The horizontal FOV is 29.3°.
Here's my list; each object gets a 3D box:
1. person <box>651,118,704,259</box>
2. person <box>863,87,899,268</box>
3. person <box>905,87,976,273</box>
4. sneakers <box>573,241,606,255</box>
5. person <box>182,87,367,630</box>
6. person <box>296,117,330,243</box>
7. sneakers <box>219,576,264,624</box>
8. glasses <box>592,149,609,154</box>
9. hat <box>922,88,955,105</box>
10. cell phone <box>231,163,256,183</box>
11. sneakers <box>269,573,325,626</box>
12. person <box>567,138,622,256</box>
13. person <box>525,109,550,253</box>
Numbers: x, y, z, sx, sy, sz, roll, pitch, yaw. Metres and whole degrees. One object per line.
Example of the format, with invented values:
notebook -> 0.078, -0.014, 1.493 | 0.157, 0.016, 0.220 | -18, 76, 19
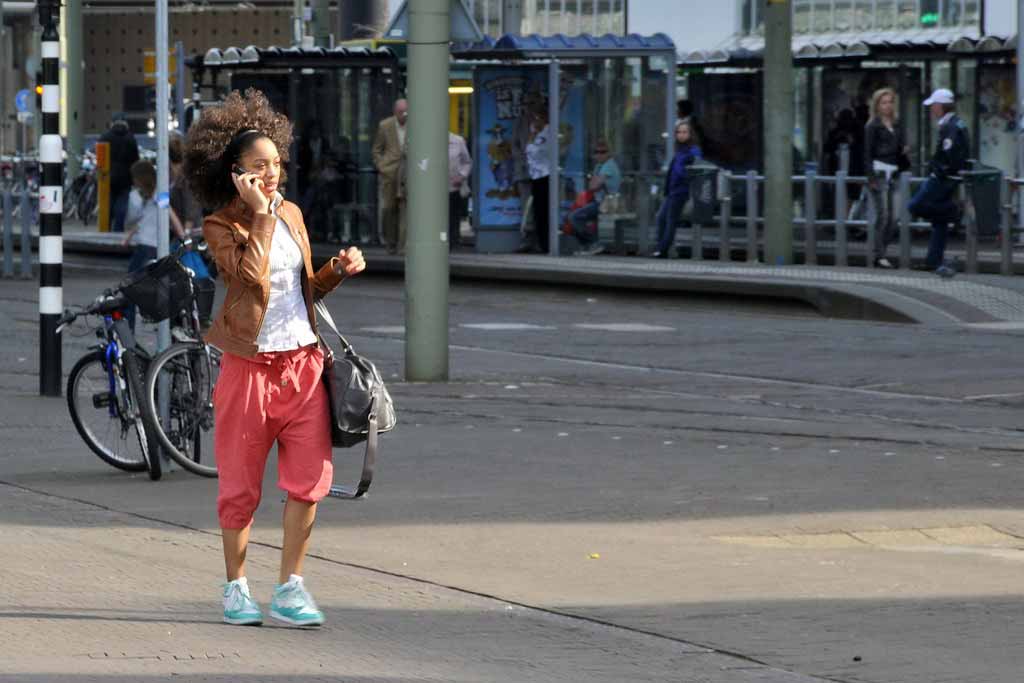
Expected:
person -> 2.279, -1.991, 26.255 | 0.509, 1.855, 0.911 | -4, 11, -23
person -> 4.603, -1.950, 24.099 | 0.405, 2.139, 0.497 | 3, 10, 10
person -> 5.167, -1.876, 23.365 | 0.670, 2.134, 0.746 | 3, 10, 11
sneakers -> 1.112, -1.256, 27.316 | 0.433, 0.169, 0.157 | 3, 5, 38
person -> -1.295, 0.086, 10.568 | 0.769, 2.747, 1.015 | -6, 12, -33
person -> -3.251, -2.662, 30.871 | 0.629, 2.267, 0.564 | -4, 21, -14
sneakers -> -1.446, 1.368, 10.509 | 0.216, 0.245, 0.229 | 0, 10, -7
glasses -> 1.252, -2.541, 26.644 | 0.205, 0.095, 0.132 | 3, 10, 14
hat -> 5.234, -2.883, 23.420 | 0.507, 0.245, 0.349 | 4, 6, 10
cell phone -> -1.440, -0.888, 10.439 | 0.124, 0.037, 0.086 | 24, 30, 37
sneakers -> -1.146, 1.368, 10.465 | 0.167, 0.253, 0.446 | 4, 0, -37
person -> 1.158, -1.942, 26.988 | 0.572, 1.591, 0.791 | -6, 12, -35
person -> 0.383, -2.218, 27.395 | 0.333, 2.032, 0.601 | 1, 10, 1
